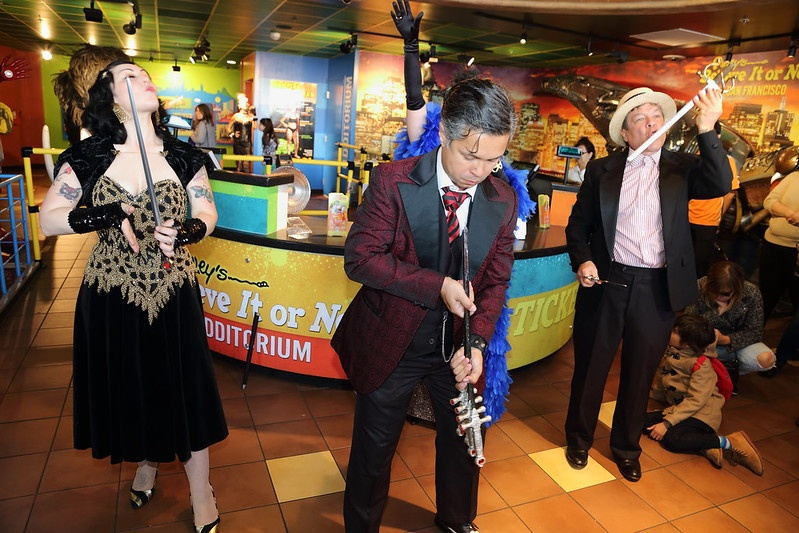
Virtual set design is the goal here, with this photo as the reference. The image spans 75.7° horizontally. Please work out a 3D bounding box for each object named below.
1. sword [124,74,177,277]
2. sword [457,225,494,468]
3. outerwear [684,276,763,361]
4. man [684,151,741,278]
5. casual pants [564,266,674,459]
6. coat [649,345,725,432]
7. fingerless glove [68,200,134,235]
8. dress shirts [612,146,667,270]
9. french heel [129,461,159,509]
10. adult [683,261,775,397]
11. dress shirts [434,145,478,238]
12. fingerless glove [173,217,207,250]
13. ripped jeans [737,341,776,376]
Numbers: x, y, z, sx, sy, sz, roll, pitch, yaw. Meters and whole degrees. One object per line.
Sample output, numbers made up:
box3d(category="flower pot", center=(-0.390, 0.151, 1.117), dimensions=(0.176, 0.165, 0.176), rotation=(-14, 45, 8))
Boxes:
box3d(category="sword", center=(-1.281, -0.458, 2.615), dimensions=(0.057, 0.949, 0.369), rotation=(-11, 22, -25))
box3d(category="sword", center=(0.354, 0.435, 2.454), dimensions=(0.170, 1.213, 0.468), rotation=(3, 20, 10))
box3d(category="outerwear", center=(2.902, 0.474, 4.537), dimensions=(0.411, 0.621, 0.650), rotation=(-6, 4, -33))
box3d(category="man", center=(3.240, -0.423, 5.336), dimensions=(0.516, 1.689, 0.486), rotation=(2, -13, 41))
box3d(category="casual pants", center=(1.481, 0.670, 3.552), dimensions=(0.640, 1.316, 0.435), rotation=(11, -8, 21))
box3d(category="coat", center=(2.329, 0.922, 4.113), dimensions=(0.542, 0.704, 0.591), rotation=(2, 4, 2))
box3d(category="fingerless glove", center=(-1.502, -0.256, 2.602), dimensions=(0.258, 0.121, 0.159), rotation=(-2, -35, -6))
box3d(category="dress shirts", center=(1.583, -0.361, 3.388), dimensions=(0.389, 0.929, 0.150), rotation=(3, -21, 15))
box3d(category="french heel", center=(-1.546, 1.312, 3.076), dimensions=(0.115, 0.318, 0.093), rotation=(2, 9, -11))
box3d(category="adult", center=(2.751, 0.534, 4.482), dimensions=(0.868, 1.123, 0.796), rotation=(0, 23, 29))
box3d(category="dress shirts", center=(0.268, -0.357, 2.463), dimensions=(0.225, 0.395, 0.122), rotation=(-4, 2, -21))
box3d(category="fingerless glove", center=(-1.138, -0.179, 2.736), dimensions=(0.087, 0.106, 0.183), rotation=(-35, 3, 30))
box3d(category="ripped jeans", center=(3.110, 0.814, 4.537), dimensions=(0.312, 0.135, 0.293), rotation=(-15, 8, -10))
